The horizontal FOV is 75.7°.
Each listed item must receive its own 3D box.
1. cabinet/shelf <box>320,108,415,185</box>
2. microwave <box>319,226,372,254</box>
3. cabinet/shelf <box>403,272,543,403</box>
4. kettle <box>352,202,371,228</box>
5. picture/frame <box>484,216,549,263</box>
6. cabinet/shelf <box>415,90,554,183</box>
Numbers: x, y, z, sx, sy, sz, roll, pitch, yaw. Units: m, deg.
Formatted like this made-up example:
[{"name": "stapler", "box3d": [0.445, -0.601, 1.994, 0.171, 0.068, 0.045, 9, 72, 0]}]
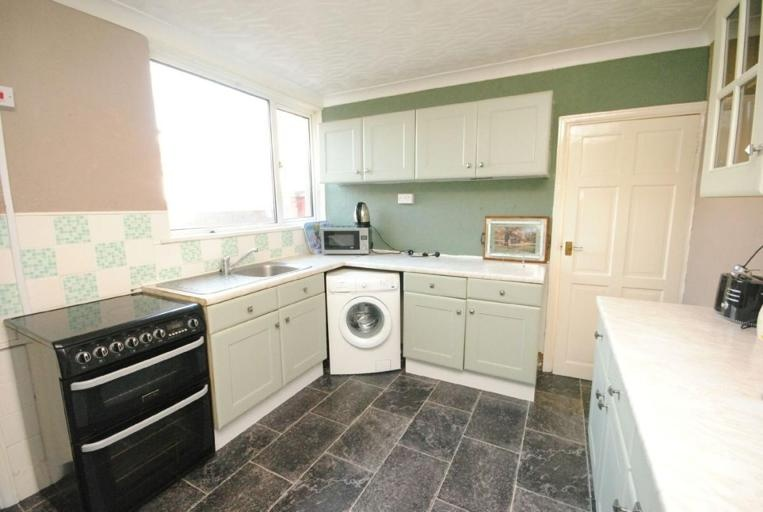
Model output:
[{"name": "cabinet/shelf", "box3d": [-0.090, -1.006, 4.749, 1.107, 0.612, 0.359, 2, 7, 29]}, {"name": "microwave", "box3d": [-0.360, -0.147, 4.747, 0.454, 0.278, 0.269, 0, 4, 4]}, {"name": "cabinet/shelf", "box3d": [0.837, 0.590, 4.317, 1.204, 0.997, 0.620, 6, 13, 33]}, {"name": "kettle", "box3d": [-0.192, -0.408, 4.840, 0.160, 0.234, 0.292, -1, 9, -3]}, {"name": "picture/frame", "box3d": [1.204, -0.150, 4.366, 0.561, 0.396, 0.078, 4, 11, 27]}, {"name": "cabinet/shelf", "box3d": [0.898, -0.981, 4.303, 1.207, 0.668, 0.419, 3, 5, 32]}]
